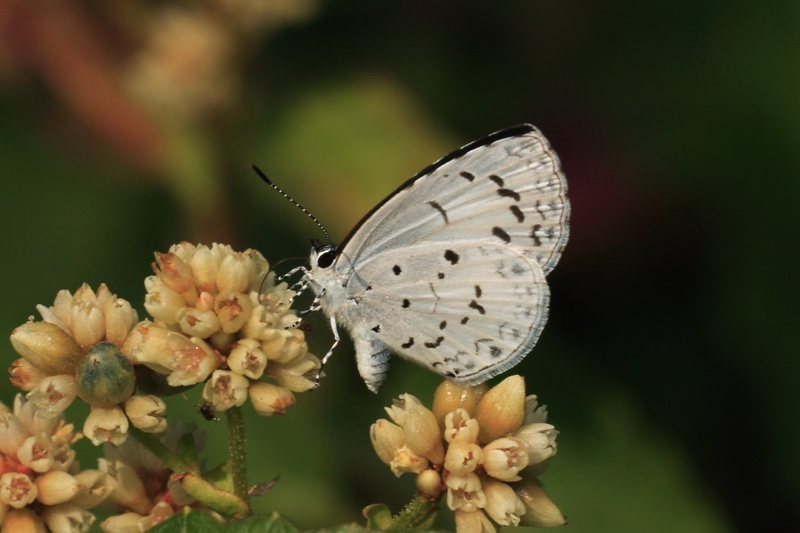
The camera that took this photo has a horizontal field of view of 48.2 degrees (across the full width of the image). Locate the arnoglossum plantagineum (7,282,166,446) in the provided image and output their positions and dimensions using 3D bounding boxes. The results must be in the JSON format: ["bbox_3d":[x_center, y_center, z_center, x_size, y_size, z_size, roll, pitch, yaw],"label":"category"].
[{"bbox_3d":[-1.744,0.437,4.952,0.664,0.932,0.672,-3,3,-31],"label":"arnoglossum plantagineum"}]

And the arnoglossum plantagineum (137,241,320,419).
[{"bbox_3d":[-0.934,0.330,5.000,1.000,0.867,0.443,7,9,-16],"label":"arnoglossum plantagineum"}]
